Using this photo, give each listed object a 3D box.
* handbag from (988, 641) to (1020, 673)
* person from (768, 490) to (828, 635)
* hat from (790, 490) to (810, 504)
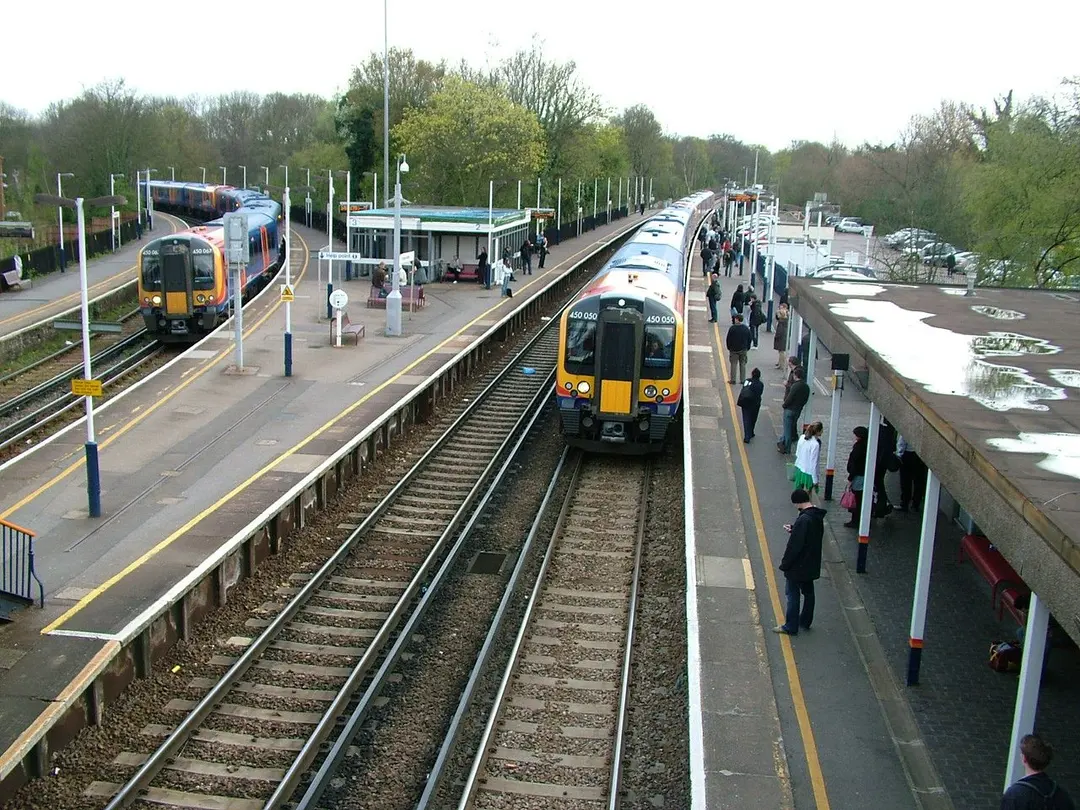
[{"bbox_3d":[6.617,3.591,14.272,0.245,0.417,0.355,10,2,39],"label":"handbag"},{"bbox_3d":[3.961,2.277,15.105,0.615,2.346,0.770,3,14,19],"label":"person"},{"bbox_3d":[3.813,1.334,14.650,0.161,0.239,0.247,-4,1,7],"label":"hat"}]
